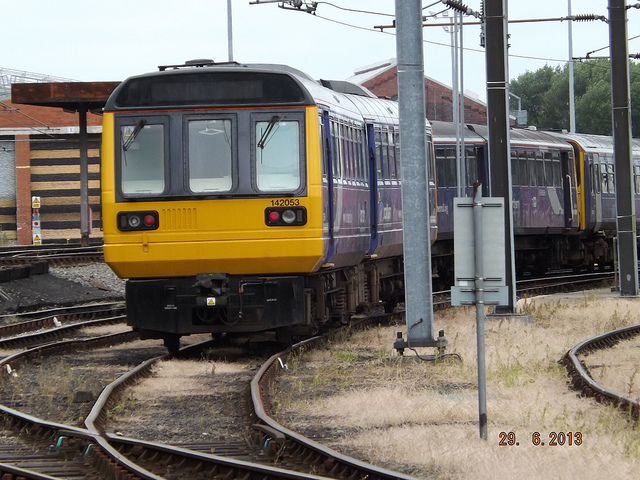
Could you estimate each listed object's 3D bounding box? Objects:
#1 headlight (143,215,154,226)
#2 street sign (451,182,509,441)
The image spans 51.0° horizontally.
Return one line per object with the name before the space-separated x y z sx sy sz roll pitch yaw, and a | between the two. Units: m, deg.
headlight | -2.656 -0.291 10.362 0.140 0.162 0.037 0 3 -1
street sign | 1.512 0.646 6.318 0.508 2.106 0.421 -3 1 16
